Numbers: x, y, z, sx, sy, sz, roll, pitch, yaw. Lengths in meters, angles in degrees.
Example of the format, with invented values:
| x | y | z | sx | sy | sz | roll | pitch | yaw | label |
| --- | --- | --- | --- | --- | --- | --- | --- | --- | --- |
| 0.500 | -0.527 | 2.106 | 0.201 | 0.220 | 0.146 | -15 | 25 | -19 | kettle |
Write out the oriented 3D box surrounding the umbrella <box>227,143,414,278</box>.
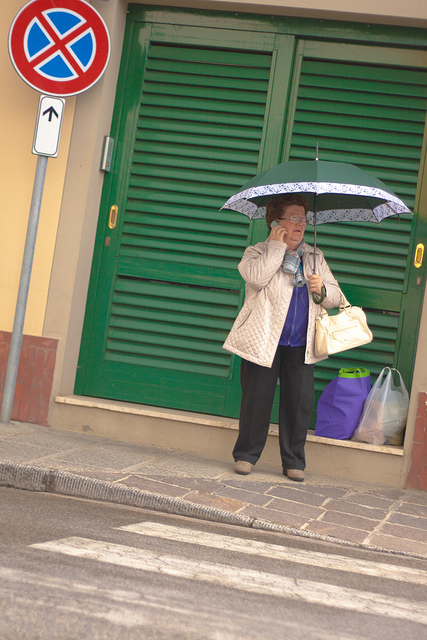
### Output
| x | y | z | sx | sy | sz | roll | pitch | yaw | label |
| --- | --- | --- | --- | --- | --- | --- | --- | --- | --- |
| 0.682 | -0.724 | 4.324 | 1.115 | 0.674 | 1.118 | 2 | -1 | -35 | umbrella |

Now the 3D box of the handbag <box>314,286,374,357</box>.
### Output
| x | y | z | sx | sy | sz | roll | pitch | yaw | label |
| --- | --- | --- | --- | --- | --- | --- | --- | --- | --- |
| 0.852 | -0.019 | 4.373 | 0.374 | 0.430 | 0.191 | -26 | 1 | 36 | handbag |

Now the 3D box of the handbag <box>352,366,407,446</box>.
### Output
| x | y | z | sx | sy | sz | roll | pitch | yaw | label |
| --- | --- | --- | --- | --- | --- | --- | --- | --- | --- |
| 1.263 | 0.629 | 4.900 | 0.484 | 0.501 | 0.354 | -7 | 15 | -39 | handbag |
